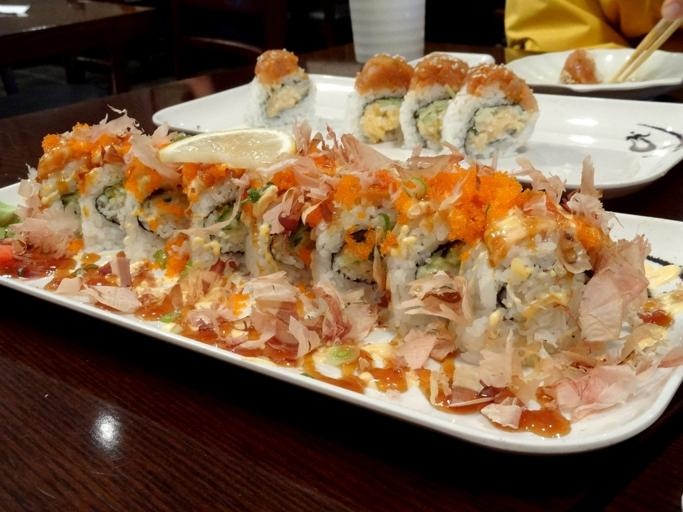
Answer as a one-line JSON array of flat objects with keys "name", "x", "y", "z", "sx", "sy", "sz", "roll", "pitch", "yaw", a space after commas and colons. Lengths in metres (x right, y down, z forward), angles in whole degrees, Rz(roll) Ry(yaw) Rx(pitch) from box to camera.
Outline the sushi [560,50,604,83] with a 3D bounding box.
[{"name": "sushi", "x": 1.034, "y": -0.832, "z": 2.408, "sx": 0.151, "sy": 0.061, "sz": 0.157, "roll": 4, "pitch": 66, "yaw": 9}]
